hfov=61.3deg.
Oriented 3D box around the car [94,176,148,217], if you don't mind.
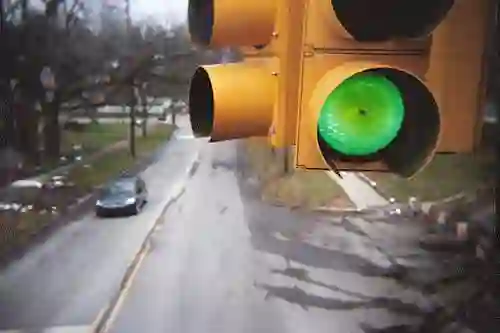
[{"bbox_3d":[-6.458,1.442,21.767,1.427,1.183,2.579,0,10,-3],"label":"car"}]
